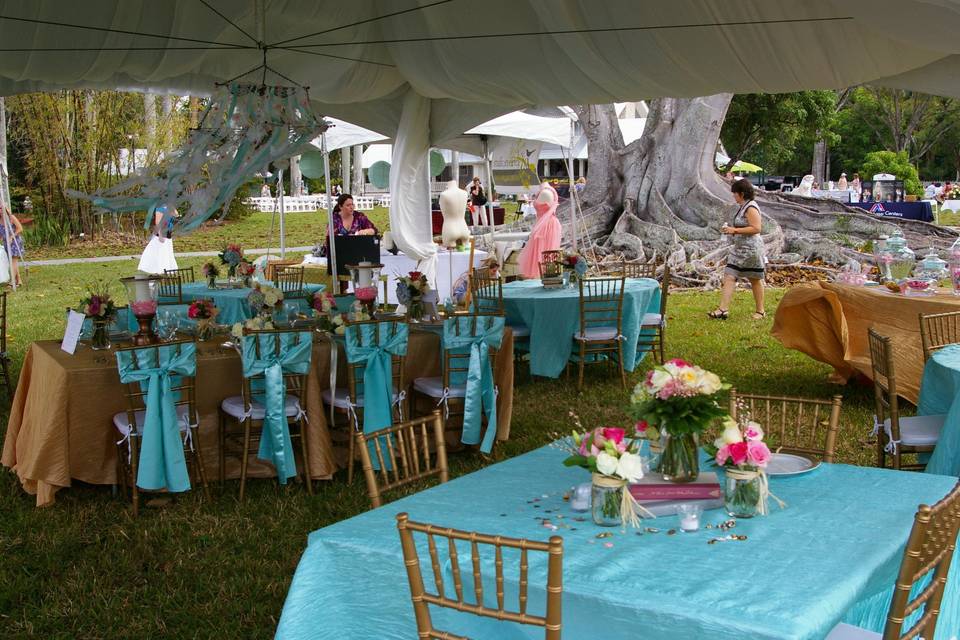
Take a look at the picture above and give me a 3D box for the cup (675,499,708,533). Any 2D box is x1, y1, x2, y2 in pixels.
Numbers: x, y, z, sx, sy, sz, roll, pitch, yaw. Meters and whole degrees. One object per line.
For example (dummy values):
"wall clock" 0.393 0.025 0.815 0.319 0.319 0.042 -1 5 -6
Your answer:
"cup" 0.943 0.881 3.159 0.099 0.099 0.111 -1 -2 3

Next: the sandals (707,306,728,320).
"sandals" 3.854 -0.079 11.398 0.262 0.122 0.145 3 3 19

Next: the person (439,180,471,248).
"person" -0.435 -1.823 12.404 0.479 1.204 1.032 -4 13 -3

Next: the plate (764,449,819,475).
"plate" 1.586 0.748 3.601 0.221 0.052 0.318 4 15 27

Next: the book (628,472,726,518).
"book" 0.941 0.815 3.376 0.457 0.110 0.260 -4 13 -5

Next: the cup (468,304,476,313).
"cup" -0.085 -0.127 8.158 0.117 0.096 0.121 0 -2 0

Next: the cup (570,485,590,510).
"cup" 0.483 0.840 3.350 0.089 0.103 0.111 -1 13 7
